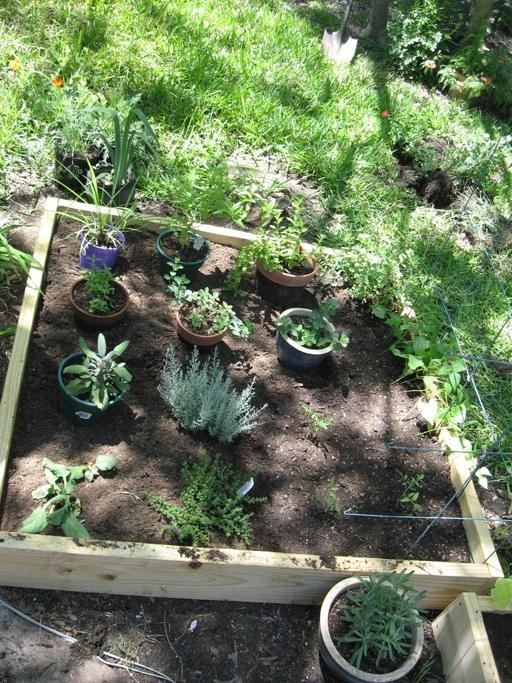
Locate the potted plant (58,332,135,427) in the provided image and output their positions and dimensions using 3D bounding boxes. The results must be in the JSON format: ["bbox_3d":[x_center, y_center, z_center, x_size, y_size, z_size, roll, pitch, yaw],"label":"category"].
[{"bbox_3d":[-0.675,0.247,2.473,0.319,0.352,0.323,10,-9,-10],"label":"potted plant"}]

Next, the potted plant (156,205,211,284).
[{"bbox_3d":[-0.393,-0.522,3.138,0.316,0.216,0.321,41,48,5],"label":"potted plant"}]

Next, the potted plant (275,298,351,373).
[{"bbox_3d":[0.250,0.043,3.002,0.302,0.216,0.297,14,5,-2],"label":"potted plant"}]

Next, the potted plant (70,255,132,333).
[{"bbox_3d":[-0.781,-0.225,2.857,0.288,0.280,0.309,6,44,-18],"label":"potted plant"}]

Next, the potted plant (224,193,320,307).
[{"bbox_3d":[0.068,-0.512,3.331,0.452,0.634,0.460,39,49,14],"label":"potted plant"}]

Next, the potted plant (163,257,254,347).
[{"bbox_3d":[-0.250,-0.137,2.899,0.466,0.325,0.294,19,30,-2],"label":"potted plant"}]
